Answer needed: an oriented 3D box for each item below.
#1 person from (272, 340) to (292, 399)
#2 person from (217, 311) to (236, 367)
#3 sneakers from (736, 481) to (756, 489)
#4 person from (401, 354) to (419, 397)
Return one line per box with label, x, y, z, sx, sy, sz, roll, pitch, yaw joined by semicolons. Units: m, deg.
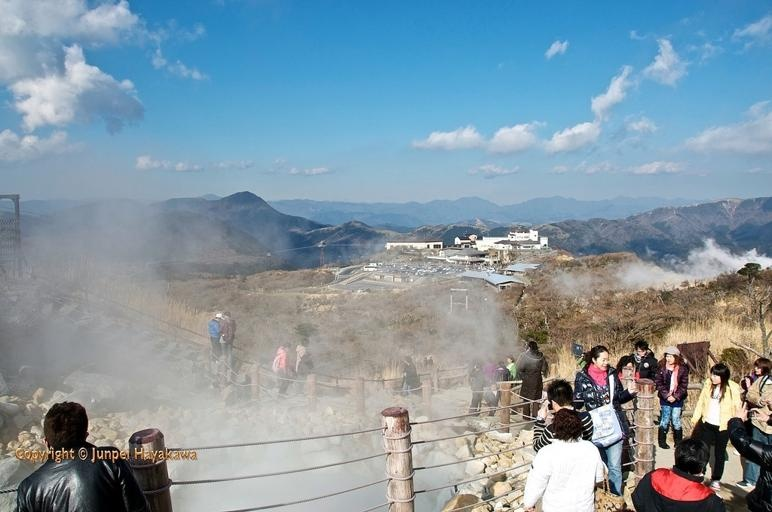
person;-3.209;3.528;14.079;0.463;1.390;1.267;-1;-10;-13
person;-5.068;2.680;14.561;0.430;1.748;1.143;0;-10;-20
sneakers;6.856;4.359;8.670;0.280;0.110;0.110;-4;-8;42
person;0.800;3.887;14.552;0.601;1.219;1.603;-4;-10;3
